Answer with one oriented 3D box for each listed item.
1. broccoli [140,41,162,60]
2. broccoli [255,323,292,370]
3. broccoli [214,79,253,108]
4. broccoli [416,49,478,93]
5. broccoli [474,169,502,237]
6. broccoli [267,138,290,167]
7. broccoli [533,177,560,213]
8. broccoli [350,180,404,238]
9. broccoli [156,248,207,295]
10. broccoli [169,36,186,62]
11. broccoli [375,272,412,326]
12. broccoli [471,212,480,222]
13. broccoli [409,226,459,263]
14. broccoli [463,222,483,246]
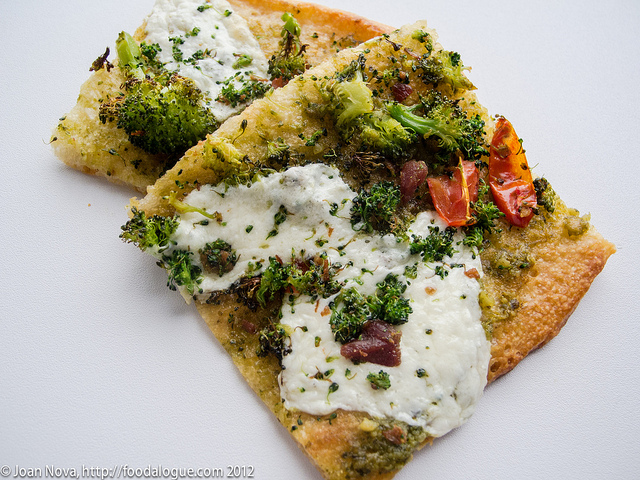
[{"bbox_3d":[-1.230,-1.350,5.799,0.116,0.064,0.122,6,83,-17],"label":"broccoli"},{"bbox_3d":[-0.313,0.675,5.378,0.216,0.287,0.083,1,8,32],"label":"broccoli"},{"bbox_3d":[-0.616,-1.025,5.700,0.190,0.191,0.082,43,-3,-21],"label":"broccoli"},{"bbox_3d":[0.889,-1.156,5.538,0.352,0.249,0.130,34,-8,3],"label":"broccoli"},{"bbox_3d":[1.145,-0.269,5.507,0.141,0.158,0.458,-6,74,3],"label":"broccoli"},{"bbox_3d":[-0.285,-0.585,5.451,0.161,0.076,0.166,-14,86,-25],"label":"broccoli"},{"bbox_3d":[1.567,-0.312,5.557,0.155,0.076,0.220,-1,77,-26],"label":"broccoli"},{"bbox_3d":[0.383,-0.223,5.445,0.290,0.366,0.138,28,-2,7],"label":"broccoli"},{"bbox_3d":[-0.979,0.215,5.442,0.387,0.324,0.137,32,70,-32],"label":"broccoli"},{"bbox_3d":[-1.038,-1.358,5.817,0.142,0.076,0.230,-2,67,-5],"label":"broccoli"},{"bbox_3d":[0.517,0.351,5.331,0.249,0.097,0.176,26,25,12],"label":"broccoli"},{"bbox_3d":[1.057,-0.161,5.440,0.022,0.023,0.084,-28,89,-37],"label":"broccoli"},{"bbox_3d":[0.786,-0.013,5.423,0.199,0.115,0.223,44,-5,26],"label":"broccoli"},{"bbox_3d":[1.032,-0.044,5.444,0.145,0.145,0.061,-19,27,-39],"label":"broccoli"}]
